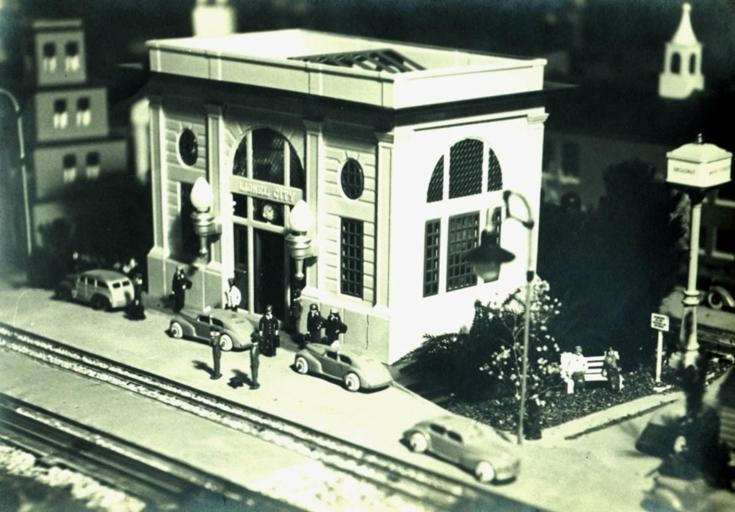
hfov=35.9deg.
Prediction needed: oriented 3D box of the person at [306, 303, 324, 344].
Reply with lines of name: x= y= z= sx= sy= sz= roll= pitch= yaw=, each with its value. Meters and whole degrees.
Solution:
person: x=-2.524 y=3.302 z=56.009 sx=0.777 sy=2.381 sz=0.670 roll=3 pitch=34 yaw=6

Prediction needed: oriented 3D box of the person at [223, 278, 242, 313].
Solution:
person: x=-7.004 y=2.290 z=58.726 sx=0.865 sy=2.227 sz=0.689 roll=4 pitch=8 yaw=12

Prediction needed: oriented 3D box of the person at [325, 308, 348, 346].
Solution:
person: x=-1.581 y=3.537 z=55.725 sx=1.139 sy=1.687 sz=0.604 roll=2 pitch=5 yaw=-3

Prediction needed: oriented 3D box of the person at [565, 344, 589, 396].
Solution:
person: x=9.932 y=5.517 z=54.178 sx=1.008 sy=2.170 sz=0.423 roll=2 pitch=5 yaw=3

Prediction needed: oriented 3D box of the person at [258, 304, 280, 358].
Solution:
person: x=-4.854 y=3.744 z=56.109 sx=0.723 sy=2.576 sz=1.051 roll=6 pitch=6 yaw=39
